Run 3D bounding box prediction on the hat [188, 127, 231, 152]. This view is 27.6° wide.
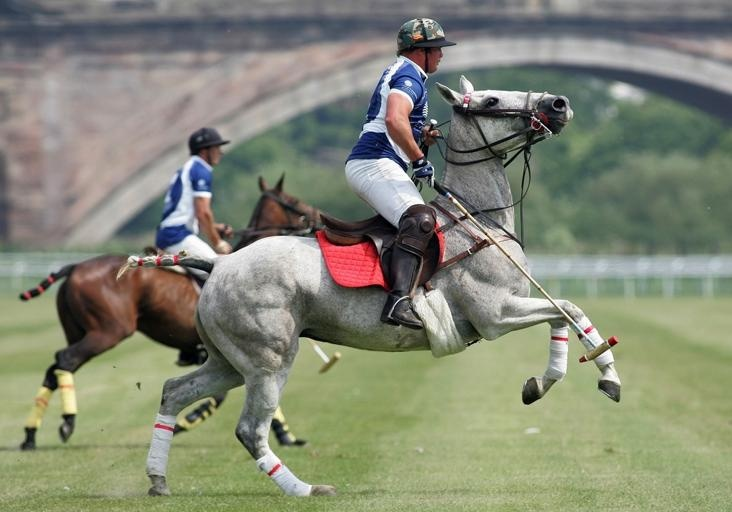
[{"bbox_3d":[-2.598,-1.887,24.372,0.554,0.282,0.420,-10,6,-3],"label":"hat"}]

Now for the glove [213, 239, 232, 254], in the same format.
[{"bbox_3d":[-2.408,-0.171,24.661,0.254,0.221,0.187,23,-15,-36],"label":"glove"}]

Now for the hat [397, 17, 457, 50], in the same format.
[{"bbox_3d":[0.846,-3.290,22.166,0.712,0.294,0.525,-3,5,0],"label":"hat"}]
